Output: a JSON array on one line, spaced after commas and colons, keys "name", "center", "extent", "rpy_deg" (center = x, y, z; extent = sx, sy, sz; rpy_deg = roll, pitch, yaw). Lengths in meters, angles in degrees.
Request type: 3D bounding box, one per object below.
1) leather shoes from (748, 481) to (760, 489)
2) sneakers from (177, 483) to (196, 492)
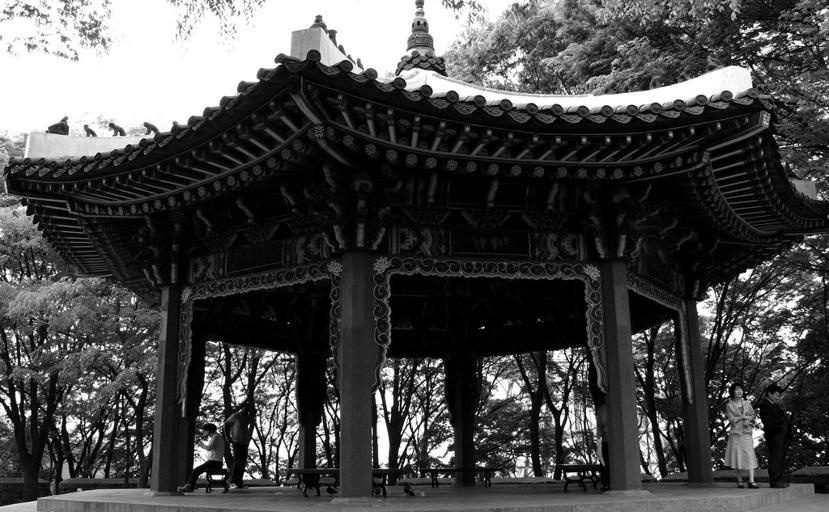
[{"name": "leather shoes", "center": [8.266, 5.641, 22.543], "extent": [0.191, 0.199, 0.525], "rpy_deg": [3, -19, -5]}, {"name": "sneakers", "center": [-5.637, 5.694, 22.494], "extent": [0.533, 0.227, 0.203], "rpy_deg": [12, -15, -6]}]
